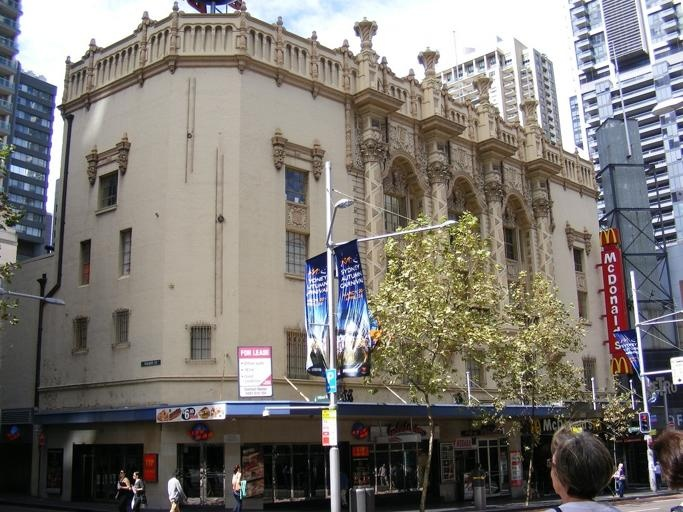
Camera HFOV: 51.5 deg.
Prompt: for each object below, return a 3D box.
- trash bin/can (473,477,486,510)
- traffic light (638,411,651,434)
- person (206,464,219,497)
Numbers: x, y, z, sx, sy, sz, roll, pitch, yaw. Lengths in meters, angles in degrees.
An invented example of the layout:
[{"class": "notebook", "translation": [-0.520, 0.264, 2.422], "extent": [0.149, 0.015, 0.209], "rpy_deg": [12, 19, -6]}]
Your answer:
[{"class": "trash bin/can", "translation": [7.857, 13.406, 40.257], "extent": [0.696, 1.620, 1.871], "rpy_deg": [-6, -19, 9]}, {"class": "traffic light", "translation": [17.244, 9.462, 40.145], "extent": [0.612, 1.213, 0.959], "rpy_deg": [-10, -20, 20]}, {"class": "person", "translation": [-6.390, 11.343, 35.672], "extent": [0.836, 1.559, 0.351], "rpy_deg": [0, -18, -9]}]
